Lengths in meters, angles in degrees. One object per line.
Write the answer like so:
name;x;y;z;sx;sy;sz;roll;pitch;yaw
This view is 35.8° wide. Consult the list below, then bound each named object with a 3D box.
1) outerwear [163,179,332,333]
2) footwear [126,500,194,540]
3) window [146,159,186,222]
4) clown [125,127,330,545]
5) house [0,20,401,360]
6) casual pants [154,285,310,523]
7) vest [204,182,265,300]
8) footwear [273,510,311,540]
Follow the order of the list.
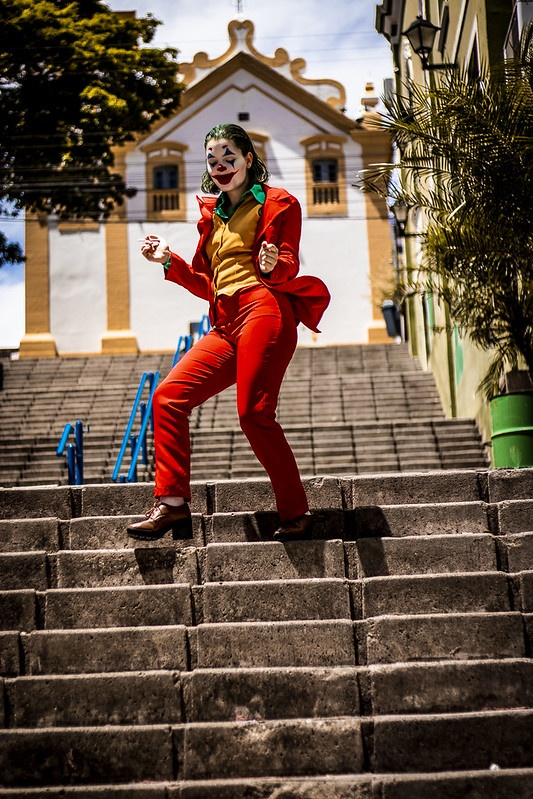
outerwear;-0.138;-0.661;3.955;0.724;0.741;0.481;-3;8;10
footwear;-0.464;0.553;3.727;0.335;0.187;0.115;3;-14;-36
window;-3.007;-6.144;24.594;1.107;2.129;0.158;-3;-25;-4
clown;-0.195;-0.327;3.818;0.862;1.963;0.755;-2;-15;1
house;-1.362;-6.614;26.973;8.735;9.641;5.176;-6;7;-19
casual pants;-0.187;-0.138;3.831;0.635;1.412;0.501;0;-26;-3
vest;-0.146;-0.735;3.900;0.225;0.661;0.320;20;-33;-37
footwear;0.126;0.573;3.697;0.199;0.090;0.073;-3;-1;-36
